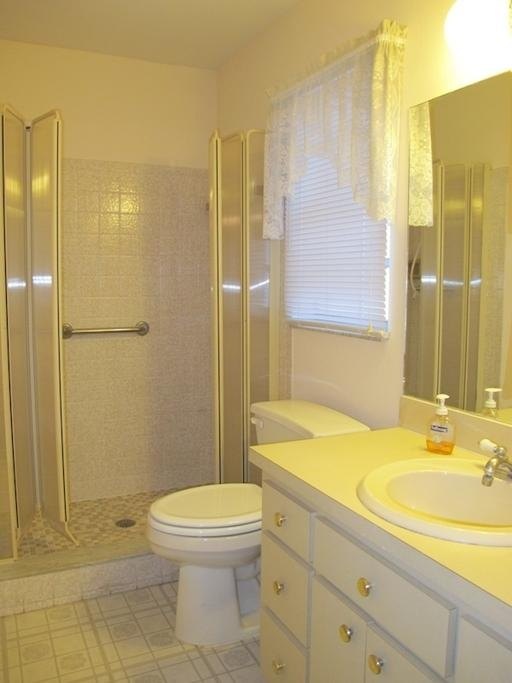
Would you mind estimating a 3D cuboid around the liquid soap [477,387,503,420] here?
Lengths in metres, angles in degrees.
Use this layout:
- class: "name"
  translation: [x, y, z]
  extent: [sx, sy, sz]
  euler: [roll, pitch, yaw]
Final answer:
- class: "liquid soap"
  translation: [0.549, 0.142, 1.233]
  extent: [0.013, 0.073, 0.059]
  euler: [-1, 2, -15]

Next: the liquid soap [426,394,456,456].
- class: "liquid soap"
  translation: [0.454, 0.204, 1.301]
  extent: [0.065, 0.142, 0.069]
  euler: [1, 3, 20]

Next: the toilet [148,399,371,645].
- class: "toilet"
  translation: [-0.072, 0.593, 2.101]
  extent: [0.779, 0.926, 0.620]
  euler: [0, 2, -25]
